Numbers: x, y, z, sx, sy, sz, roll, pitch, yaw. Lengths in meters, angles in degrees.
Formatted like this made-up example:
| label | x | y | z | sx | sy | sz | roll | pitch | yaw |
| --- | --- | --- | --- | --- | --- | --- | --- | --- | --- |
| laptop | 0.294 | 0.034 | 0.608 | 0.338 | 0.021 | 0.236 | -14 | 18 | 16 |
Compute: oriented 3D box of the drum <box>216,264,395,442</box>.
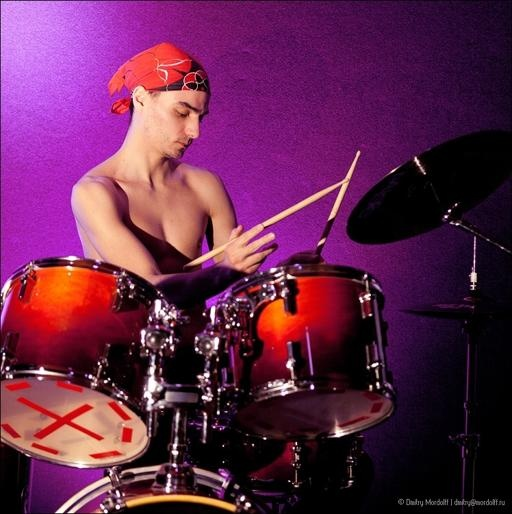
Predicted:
| label | x | y | z | sx | sy | sz | roll | pitch | yaw |
| --- | --- | --- | --- | --- | --- | --- | --- | --- | --- |
| drum | 0.230 | 0.245 | 1.737 | 0.505 | 0.293 | 0.446 | 7 | -28 | -14 |
